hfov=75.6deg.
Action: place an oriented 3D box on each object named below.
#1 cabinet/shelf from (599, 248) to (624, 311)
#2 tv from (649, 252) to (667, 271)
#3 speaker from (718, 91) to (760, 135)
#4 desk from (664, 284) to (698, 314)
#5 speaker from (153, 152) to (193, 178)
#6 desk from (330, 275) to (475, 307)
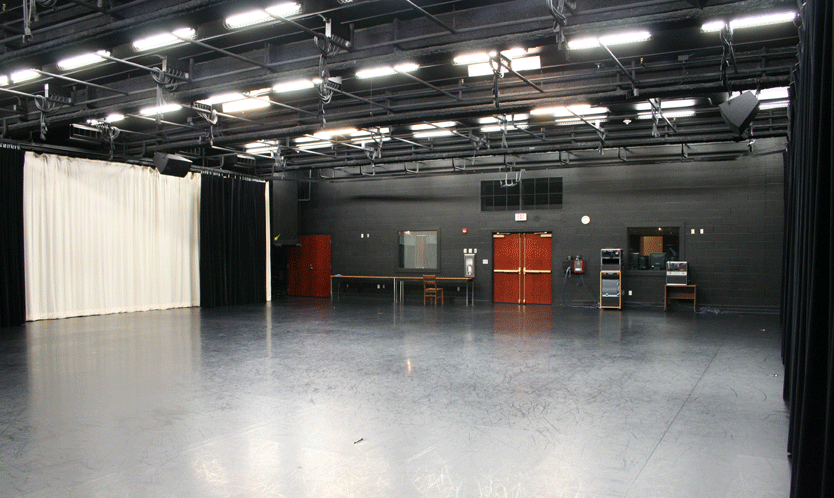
[{"bbox_3d":[5.778,0.892,16.091,0.602,1.766,0.398,0,3,7],"label":"cabinet/shelf"},{"bbox_3d":[7.210,0.394,16.249,0.598,0.751,0.482,-1,-7,16],"label":"tv"},{"bbox_3d":[5.201,-2.255,8.706,0.487,0.668,0.522,1,3,27],"label":"speaker"},{"bbox_3d":[7.655,1.462,15.741,1.064,0.916,0.771,-2,-7,23],"label":"desk"},{"bbox_3d":[-6.320,-2.124,13.927,0.656,0.568,0.871,-20,-16,33],"label":"speaker"},{"bbox_3d":[-0.659,1.317,18.885,5.478,0.949,1.467,1,2,31],"label":"desk"}]
